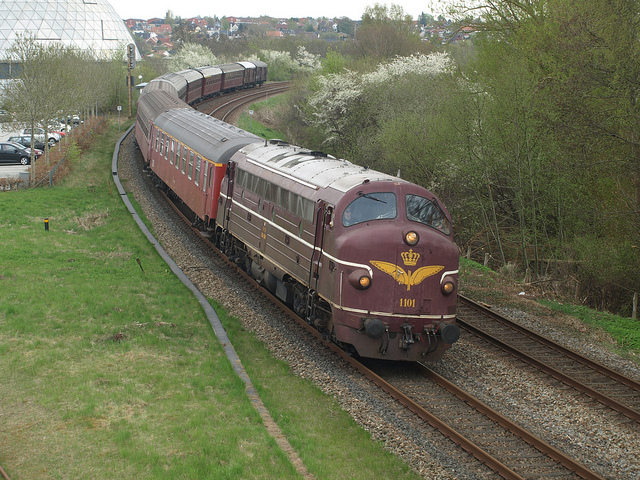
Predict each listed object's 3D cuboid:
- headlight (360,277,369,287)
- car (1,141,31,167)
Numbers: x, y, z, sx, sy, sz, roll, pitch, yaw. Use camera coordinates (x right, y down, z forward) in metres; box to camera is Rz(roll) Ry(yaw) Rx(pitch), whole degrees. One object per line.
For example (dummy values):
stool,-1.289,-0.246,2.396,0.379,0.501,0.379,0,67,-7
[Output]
headlight,1.166,1.100,12.881,0.176,0.218,0.234,1,2,-2
car,-26.153,-7.328,41.904,2.273,1.903,0.699,3,12,-5
